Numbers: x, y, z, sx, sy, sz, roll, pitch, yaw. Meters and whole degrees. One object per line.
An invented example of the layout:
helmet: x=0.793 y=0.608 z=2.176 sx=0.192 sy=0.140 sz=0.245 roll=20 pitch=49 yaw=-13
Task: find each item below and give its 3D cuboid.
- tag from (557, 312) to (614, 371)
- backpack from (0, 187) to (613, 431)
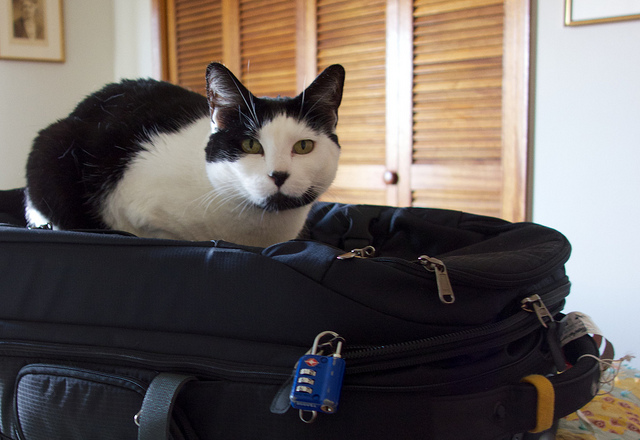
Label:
tag: x=0.406 y=0.175 z=0.942 sx=0.090 sy=0.092 sz=0.048 roll=-10 pitch=16 yaw=-40
backpack: x=-0.055 y=0.169 z=0.916 sx=0.647 sy=0.195 sz=0.457 roll=1 pitch=0 yaw=17
